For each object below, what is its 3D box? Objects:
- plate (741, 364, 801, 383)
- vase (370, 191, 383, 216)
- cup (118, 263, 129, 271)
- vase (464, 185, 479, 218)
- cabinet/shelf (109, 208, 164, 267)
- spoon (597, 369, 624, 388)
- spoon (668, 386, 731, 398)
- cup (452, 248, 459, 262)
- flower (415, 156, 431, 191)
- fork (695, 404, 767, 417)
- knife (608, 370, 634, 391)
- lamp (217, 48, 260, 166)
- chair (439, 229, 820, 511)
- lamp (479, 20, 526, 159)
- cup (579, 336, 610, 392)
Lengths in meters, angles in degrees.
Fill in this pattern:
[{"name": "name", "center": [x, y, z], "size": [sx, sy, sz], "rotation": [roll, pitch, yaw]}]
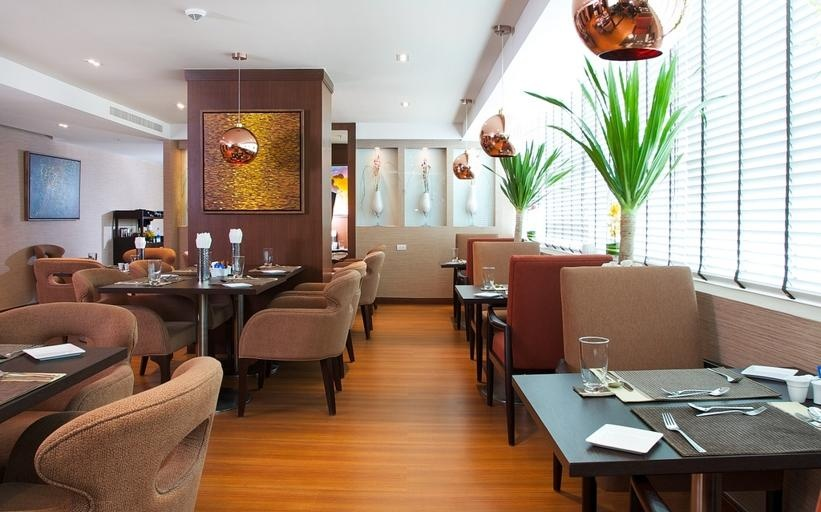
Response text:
[{"name": "plate", "center": [1.725, 0.553, 2.510], "size": [0.306, 0.042, 0.156], "rotation": [-3, 10, -16]}, {"name": "vase", "center": [-0.529, -0.870, 8.694], "size": [0.192, 0.421, 0.146], "rotation": [-3, 11, -15]}, {"name": "cup", "center": [-3.382, 0.126, 6.269], "size": [0.080, 0.054, 0.078], "rotation": [2, -4, 0]}, {"name": "vase", "center": [0.991, -0.904, 8.643], "size": [0.193, 0.522, 0.202], "rotation": [0, 11, -1]}, {"name": "cabinet/shelf", "center": [-4.866, -0.345, 9.352], "size": [0.447, 1.116, 1.226], "rotation": [-3, 2, -5]}, {"name": "spoon", "center": [0.927, 0.553, 2.473], "size": [0.084, 0.030, 0.141], "rotation": [4, 6, 2]}, {"name": "spoon", "center": [1.259, 0.606, 2.352], "size": [0.309, 0.042, 0.088], "rotation": [-3, -4, 0]}, {"name": "cup", "center": [0.680, -0.031, 8.012], "size": [0.165, 0.232, 0.154], "rotation": [1, -1, 0]}, {"name": "flower", "center": [0.238, -1.346, 8.734], "size": [0.189, 0.559, 0.099], "rotation": [4, 12, 21]}, {"name": "fork", "center": [1.327, 0.647, 2.225], "size": [0.317, 0.043, 0.096], "rotation": [-2, 0, 5]}, {"name": "knife", "center": [0.983, 0.587, 2.484], "size": [0.053, 0.014, 0.188], "rotation": [-3, 1, 6]}, {"name": "lamp", "center": [-1.809, -1.546, 5.604], "size": [0.351, 1.137, 0.663], "rotation": [-2, 11, -13]}, {"name": "chair", "center": [1.391, 0.642, 3.810], "size": [1.456, 1.731, 1.494], "rotation": [-1, -2, -5]}, {"name": "lamp", "center": [0.867, -1.577, 5.182], "size": [0.327, 1.189, 0.739], "rotation": [2, 11, 8]}, {"name": "cup", "center": [0.848, 0.494, 2.451], "size": [0.141, 0.218, 0.172], "rotation": [3, 11, 15]}]
